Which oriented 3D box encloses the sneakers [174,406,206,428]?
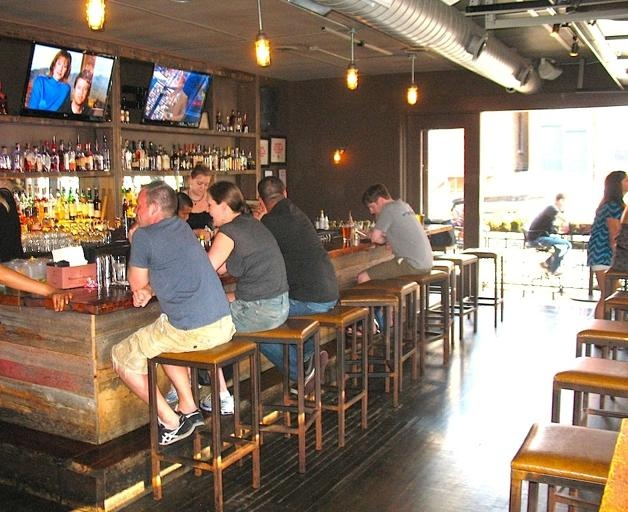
[{"bbox_3d":[-0.740,0.940,3.227,0.217,0.085,0.076,3,4,14],"label":"sneakers"}]

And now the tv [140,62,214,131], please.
[{"bbox_3d":[-1.719,-1.998,6.792,0.049,0.755,1.115,25,19,22],"label":"tv"}]

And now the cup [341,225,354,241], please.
[{"bbox_3d":[0.361,-0.254,5.919,0.161,0.163,0.155,0,-3,0],"label":"cup"}]

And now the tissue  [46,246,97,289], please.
[{"bbox_3d":[-1.476,0.039,3.488,0.252,0.286,0.311,2,6,27],"label":"tissue "}]

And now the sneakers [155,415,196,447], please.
[{"bbox_3d":[-0.774,1.001,3.169,0.276,0.118,0.099,-29,13,16],"label":"sneakers"}]

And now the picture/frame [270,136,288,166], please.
[{"bbox_3d":[-0.580,-1.762,9.072,0.057,0.523,0.556,-1,2,34],"label":"picture/frame"}]

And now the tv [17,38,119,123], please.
[{"bbox_3d":[-2.496,-1.779,5.527,0.117,0.714,1.121,18,10,28],"label":"tv"}]

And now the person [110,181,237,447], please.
[{"bbox_3d":[-0.812,0.354,3.117,0.643,1.548,0.380,3,9,20],"label":"person"}]

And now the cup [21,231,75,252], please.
[{"bbox_3d":[-1.981,-0.119,4.103,0.449,0.146,0.254,6,10,37],"label":"cup"}]

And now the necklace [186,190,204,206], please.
[{"bbox_3d":[-1.202,-0.611,5.691,0.184,0.196,0.072,-5,6,-5],"label":"necklace"}]

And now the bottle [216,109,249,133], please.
[{"bbox_3d":[-1.176,-1.948,7.930,0.265,0.399,0.618,12,15,43],"label":"bottle"}]

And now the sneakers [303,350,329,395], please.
[{"bbox_3d":[0.014,0.817,3.838,0.096,0.331,0.191,12,-10,35],"label":"sneakers"}]
